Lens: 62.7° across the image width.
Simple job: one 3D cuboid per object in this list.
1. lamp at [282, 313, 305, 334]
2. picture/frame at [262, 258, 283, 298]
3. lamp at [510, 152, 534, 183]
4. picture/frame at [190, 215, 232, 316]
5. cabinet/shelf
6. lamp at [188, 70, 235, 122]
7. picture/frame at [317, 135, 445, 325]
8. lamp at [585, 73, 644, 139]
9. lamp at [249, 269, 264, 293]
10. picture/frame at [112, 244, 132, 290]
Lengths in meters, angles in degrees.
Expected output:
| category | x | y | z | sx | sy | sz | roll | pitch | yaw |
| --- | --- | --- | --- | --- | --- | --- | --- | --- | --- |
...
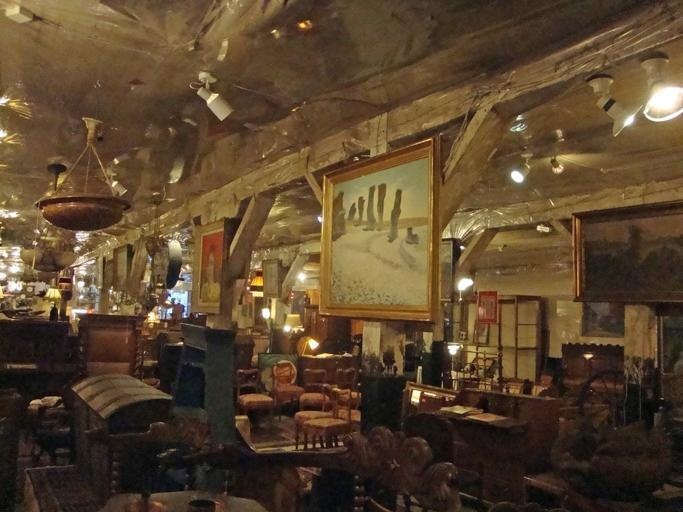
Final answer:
| category | x | y | z | sx | sy | sz | roll | pitch | yaw |
| --- | --- | --- | --- | --- | --- | --- | --- | --- | --- |
| lamp | -1.342 | 1.895 | 15.614 | 0.447 | 0.568 | 0.444 | -1 | -2 | -5 |
| picture/frame | -1.826 | 0.582 | 14.797 | 0.181 | 1.075 | 0.990 | 7 | -9 | -34 |
| lamp | 2.710 | -1.328 | 8.491 | 0.293 | 0.521 | 0.279 | 10 | -35 | 41 |
| picture/frame | -2.051 | 0.149 | 8.936 | 0.256 | 1.587 | 1.707 | 4 | -5 | -30 |
| cabinet/shelf | 3.639 | 2.042 | 13.260 | 0.773 | 2.204 | 2.394 | 11 | -14 | -36 |
| lamp | -1.495 | -1.781 | 6.246 | 0.390 | 0.322 | 0.619 | 9 | -27 | 47 |
| picture/frame | 0.384 | -0.218 | 6.081 | 0.159 | 1.831 | 1.649 | 9 | -10 | -42 |
| lamp | 3.079 | -1.742 | 6.377 | 0.326 | 0.358 | 0.325 | -34 | -11 | -18 |
| lamp | -2.093 | 0.584 | 13.687 | 0.338 | 0.597 | 0.768 | 4 | -8 | -10 |
| picture/frame | -4.836 | 0.266 | 12.397 | 0.325 | 1.071 | 1.920 | 6 | -9 | -24 |
